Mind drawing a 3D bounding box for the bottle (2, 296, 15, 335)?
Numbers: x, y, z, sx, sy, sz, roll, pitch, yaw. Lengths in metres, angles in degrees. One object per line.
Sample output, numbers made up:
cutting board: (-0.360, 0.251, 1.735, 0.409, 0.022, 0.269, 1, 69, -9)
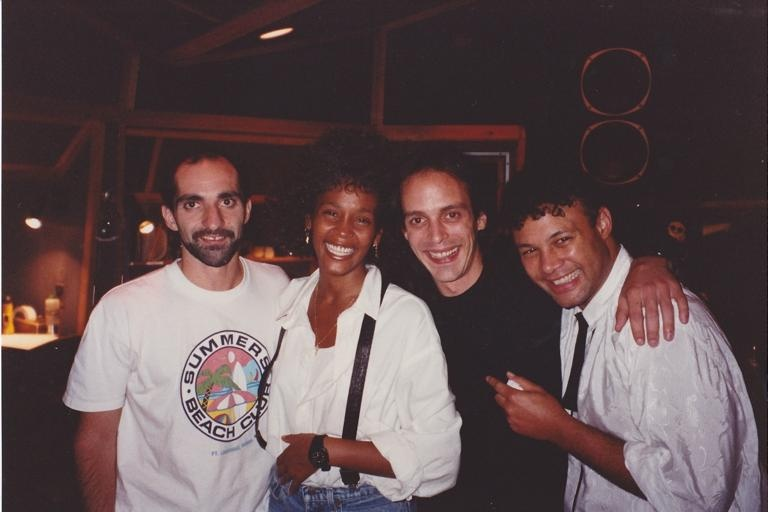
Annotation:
bottle: (-2.539, 0.397, 4.281, 0.070, 0.264, 0.112, -3, 5, -34)

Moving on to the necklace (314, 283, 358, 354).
necklace: (-0.313, 0.386, 3.921, 0.267, 0.352, 0.124, 1, -5, 14)

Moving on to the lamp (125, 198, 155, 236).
lamp: (-1.611, -0.270, 4.247, 0.232, 0.221, 0.060, 14, 30, 16)

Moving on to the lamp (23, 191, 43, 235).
lamp: (-2.291, -0.284, 4.141, 0.138, 0.248, 0.072, -1, 4, -10)

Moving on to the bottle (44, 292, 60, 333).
bottle: (-2.190, 0.379, 4.176, 0.123, 0.273, 0.044, 1, 4, 5)
